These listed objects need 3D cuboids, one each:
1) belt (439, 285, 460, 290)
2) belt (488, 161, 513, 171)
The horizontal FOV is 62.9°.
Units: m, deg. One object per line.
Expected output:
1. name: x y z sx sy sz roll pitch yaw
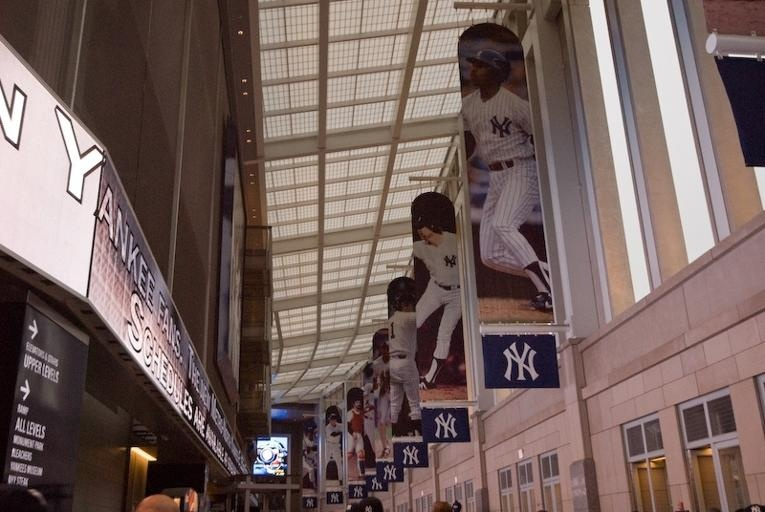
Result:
1. belt: 1.805 0.862 16.829 0.542 0.139 0.069 -1 -27 -10
2. belt: 2.173 -1.640 11.420 0.222 0.065 0.229 -18 -13 30
